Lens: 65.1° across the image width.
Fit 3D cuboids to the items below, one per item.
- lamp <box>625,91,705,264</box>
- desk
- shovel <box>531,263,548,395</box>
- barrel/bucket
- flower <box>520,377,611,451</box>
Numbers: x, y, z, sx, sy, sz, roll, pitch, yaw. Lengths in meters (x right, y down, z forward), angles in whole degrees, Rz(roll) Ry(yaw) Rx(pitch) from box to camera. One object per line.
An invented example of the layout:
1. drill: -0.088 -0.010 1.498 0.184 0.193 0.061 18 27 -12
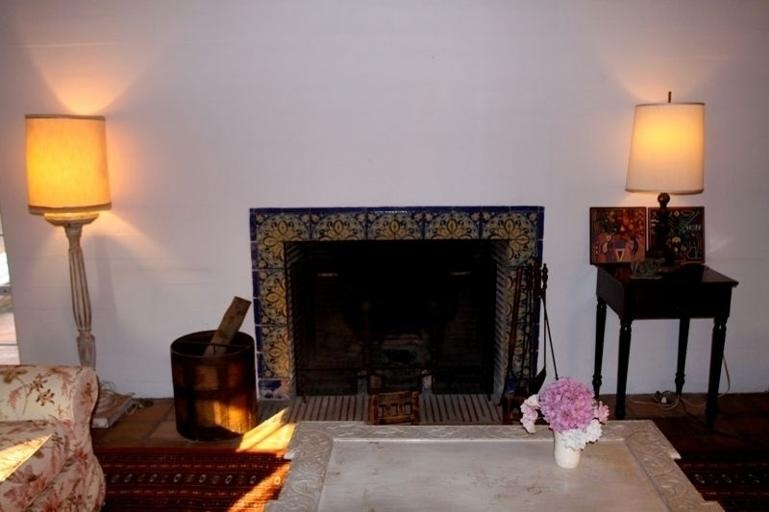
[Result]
1. lamp: 1.876 -0.525 4.005 0.459 1.159 0.340 2 2 27
2. desk: 1.887 0.584 4.145 0.878 0.961 0.871 -1 5 -26
3. shovel: 1.113 0.488 4.250 0.097 0.893 0.281 2 2 23
4. barrel/bucket: -1.069 0.862 4.211 0.678 0.725 0.638 0 6 0
5. flower: 1.002 0.824 3.343 0.366 0.446 0.425 -2 5 -28
